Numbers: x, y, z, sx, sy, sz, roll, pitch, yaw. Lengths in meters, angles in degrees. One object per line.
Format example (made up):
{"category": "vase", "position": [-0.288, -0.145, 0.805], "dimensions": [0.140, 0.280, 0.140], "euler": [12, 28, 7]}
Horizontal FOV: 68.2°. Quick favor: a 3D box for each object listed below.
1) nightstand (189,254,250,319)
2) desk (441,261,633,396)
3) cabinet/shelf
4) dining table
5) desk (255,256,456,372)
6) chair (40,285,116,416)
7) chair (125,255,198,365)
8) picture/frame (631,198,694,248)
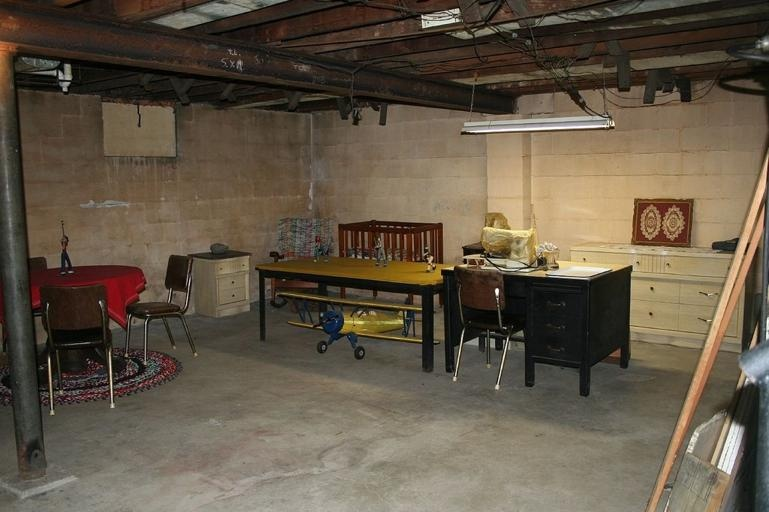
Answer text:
{"category": "nightstand", "position": [-2.627, 0.459, 9.097], "dimensions": [0.631, 0.813, 0.726], "euler": [4, 7, 40]}
{"category": "desk", "position": [1.614, 0.657, 6.091], "dimensions": [1.690, 1.052, 1.647], "euler": [1, 3, 34]}
{"category": "cabinet/shelf", "position": [3.302, 0.549, 7.545], "dimensions": [2.534, 1.256, 0.797], "euler": [5, -10, -15]}
{"category": "dining table", "position": [-3.308, 0.444, 6.397], "dimensions": [1.068, 0.330, 1.042], "euler": [5, 9, 32]}
{"category": "desk", "position": [-0.281, 0.574, 7.284], "dimensions": [2.577, 1.182, 1.136], "euler": [6, 15, 30]}
{"category": "chair", "position": [-3.121, 0.850, 5.756], "dimensions": [0.660, 1.208, 1.039], "euler": [-9, 16, -28]}
{"category": "chair", "position": [-2.762, 0.631, 7.045], "dimensions": [0.881, 1.096, 0.915], "euler": [1, 7, 30]}
{"category": "picture/frame", "position": [3.814, -0.437, 7.752], "dimensions": [0.830, 0.651, 0.060], "euler": [0, -4, 32]}
